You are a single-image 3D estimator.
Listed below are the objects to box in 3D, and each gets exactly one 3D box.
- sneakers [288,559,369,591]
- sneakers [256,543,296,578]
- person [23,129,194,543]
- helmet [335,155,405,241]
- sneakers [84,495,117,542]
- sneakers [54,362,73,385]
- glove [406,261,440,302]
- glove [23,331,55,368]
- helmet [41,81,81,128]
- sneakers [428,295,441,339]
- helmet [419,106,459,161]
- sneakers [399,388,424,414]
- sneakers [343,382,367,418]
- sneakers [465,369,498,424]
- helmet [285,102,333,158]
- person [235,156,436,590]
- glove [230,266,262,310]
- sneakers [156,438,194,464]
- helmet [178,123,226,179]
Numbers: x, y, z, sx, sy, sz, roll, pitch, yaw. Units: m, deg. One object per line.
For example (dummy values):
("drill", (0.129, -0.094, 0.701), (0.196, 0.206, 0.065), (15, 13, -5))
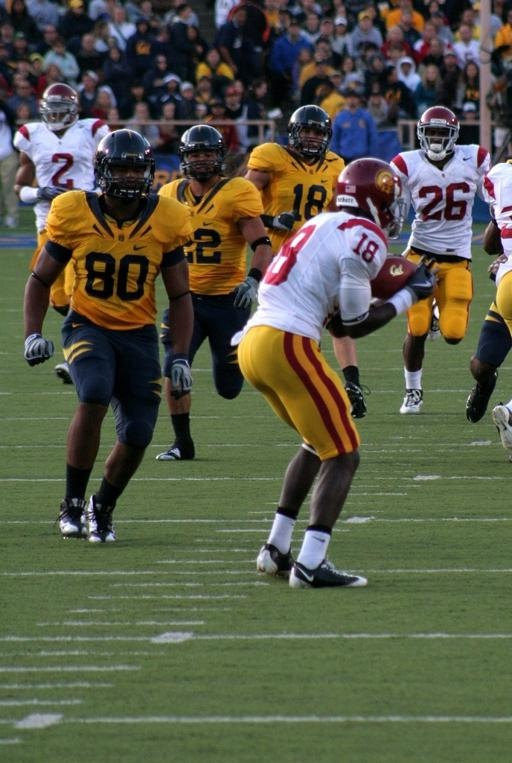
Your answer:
("sneakers", (0.218, 0.603, 3.509), (0.285, 0.086, 0.083), (0, -8, -4))
("sneakers", (0.067, 0.561, 3.542), (0.068, 0.070, 0.161), (11, -9, 28))
("person", (-0.499, -0.141, 3.919), (0.588, 1.443, 0.382), (4, 18, -11))
("helmet", (0.358, -0.583, 3.560), (0.270, 0.215, 0.195), (-2, 9, -40))
("sneakers", (-0.533, 0.489, 4.056), (0.082, 0.191, 0.099), (-5, -8, -21))
("sneakers", (-1.130, -0.047, 6.692), (0.060, 0.127, 0.098), (-29, 27, -27))
("glove", (0.514, -0.310, 3.476), (0.083, 0.042, 0.131), (23, 35, -6))
("glove", (-0.736, -0.112, 3.919), (0.075, 0.070, 0.145), (-6, 1, -35))
("helmet", (-1.298, -1.818, 7.466), (0.246, 0.315, 0.340), (5, 16, -6))
("sneakers", (1.109, -0.404, 7.022), (0.095, 0.218, 0.106), (-7, -5, 0))
("helmet", (1.060, -1.481, 6.744), (0.298, 0.298, 0.343), (0, 8, 5))
("sneakers", (0.877, 0.115, 6.397), (0.080, 0.084, 0.210), (2, 9, 10))
("sneakers", (0.535, 0.095, 6.005), (0.099, 0.234, 0.113), (-15, -10, 6))
("sneakers", (1.139, 0.070, 5.730), (0.123, 0.300, 0.141), (19, -22, 8))
("helmet", (0.292, -1.362, 6.149), (0.279, 0.234, 0.305), (2, 8, -12))
("person", (0.209, -0.015, 3.496), (0.579, 1.344, 0.491), (6, 17, -2))
("glove", (-0.024, -0.421, 5.145), (0.114, 0.079, 0.278), (-37, 15, 39))
("sneakers", (-0.361, 0.340, 5.452), (0.228, 0.078, 0.072), (1, -5, -1))
("helmet", (-0.230, -1.082, 5.277), (0.235, 0.219, 0.270), (-2, 3, -1))
